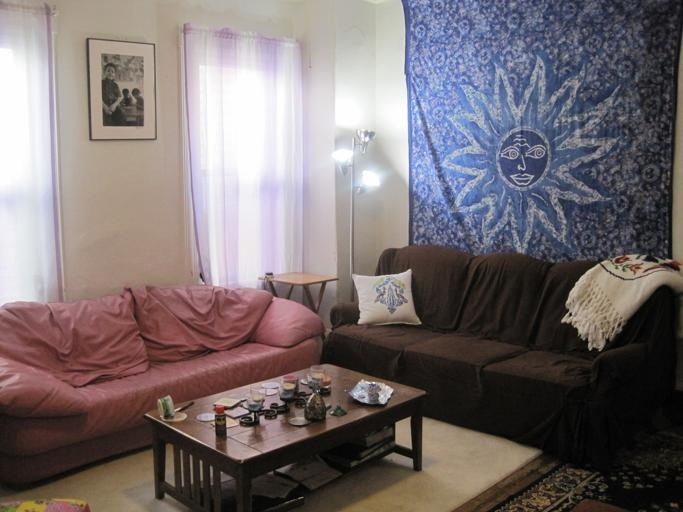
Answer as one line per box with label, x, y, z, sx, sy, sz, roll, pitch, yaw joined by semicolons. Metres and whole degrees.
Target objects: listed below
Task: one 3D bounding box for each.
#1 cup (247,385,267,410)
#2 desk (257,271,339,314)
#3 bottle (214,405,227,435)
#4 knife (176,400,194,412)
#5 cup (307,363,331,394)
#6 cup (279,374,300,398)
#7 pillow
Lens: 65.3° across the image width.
cup;-0.490;0.808;3.032;0.080;0.101;0.102;6;15;12
desk;-0.382;0.265;4.846;0.467;0.458;0.474;2;4;37
bottle;-0.615;0.835;2.693;0.056;0.138;0.065;-4;11;-12
knife;-0.891;0.855;3.026;0.027;0.034;0.133;5;20;31
cup;-0.134;0.739;3.135;0.095;0.147;0.168;-1;-4;-17
cup;-0.309;0.769;3.127;0.070;0.106;0.121;1;-9;-4
pillow;0.408;0.359;4.521;0.413;0.402;0.146;-5;-17;-1
